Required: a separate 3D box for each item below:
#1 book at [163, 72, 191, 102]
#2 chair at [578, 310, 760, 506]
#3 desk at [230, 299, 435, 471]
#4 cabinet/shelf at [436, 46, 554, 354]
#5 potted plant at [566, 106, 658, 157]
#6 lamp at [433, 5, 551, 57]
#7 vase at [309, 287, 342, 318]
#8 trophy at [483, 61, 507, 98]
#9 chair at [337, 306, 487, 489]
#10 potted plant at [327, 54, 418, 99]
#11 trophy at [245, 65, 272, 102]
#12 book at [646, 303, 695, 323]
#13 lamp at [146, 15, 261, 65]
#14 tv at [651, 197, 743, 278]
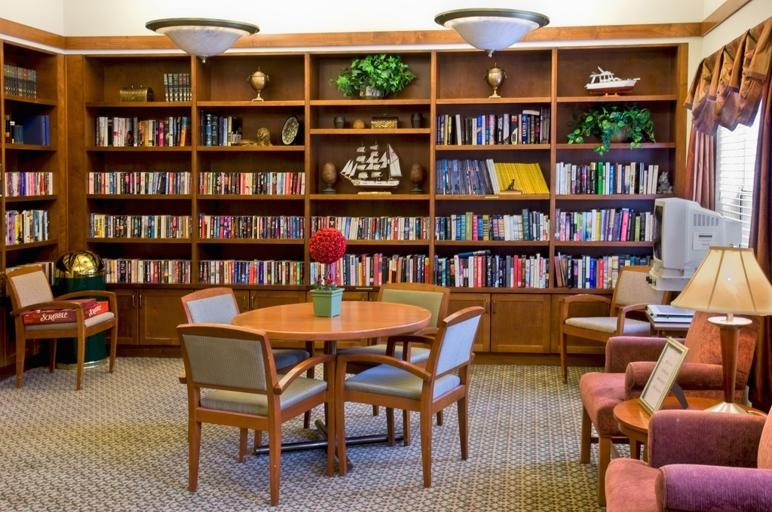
[{"bbox_3d":[-2.401,-1.921,7.037,0.416,0.333,0.188,6,12,34],"label":"book"},{"bbox_3d":[1.954,1.001,4.762,1.295,1.580,1.292,0,-1,7],"label":"chair"},{"bbox_3d":[-0.367,0.860,4.788,1.276,0.835,1.235,-1,-2,1],"label":"desk"},{"bbox_3d":[1.175,-0.607,6.914,1.382,3.278,0.909,2,10,12],"label":"cabinet/shelf"},{"bbox_3d":[2.415,-1.375,6.662,0.871,0.533,0.509,3,10,15],"label":"potted plant"},{"bbox_3d":[0.979,-2.120,5.781,0.985,0.307,0.954,0,-1,0],"label":"lamp"},{"bbox_3d":[-0.468,0.362,4.826,0.230,0.183,0.235,1,-8,2],"label":"vase"},{"bbox_3d":[1.203,-1.919,6.835,0.244,0.295,0.203,-5,17,-11],"label":"trophy"},{"bbox_3d":[0.156,0.950,4.398,1.005,1.192,0.536,1,10,7],"label":"chair"},{"bbox_3d":[-0.154,-1.973,6.769,0.631,0.362,0.610,-1,6,8],"label":"potted plant"},{"bbox_3d":[-1.456,-1.958,7.062,0.281,0.327,0.223,-2,14,-16],"label":"trophy"},{"bbox_3d":[2.329,0.470,5.080,0.368,0.082,0.377,-1,6,-12],"label":"book"},{"bbox_3d":[-1.685,-1.924,5.723,0.966,0.309,0.962,11,15,40],"label":"lamp"},{"bbox_3d":[2.447,-0.142,5.036,0.655,0.551,0.643,1,-1,13],"label":"tv"}]
